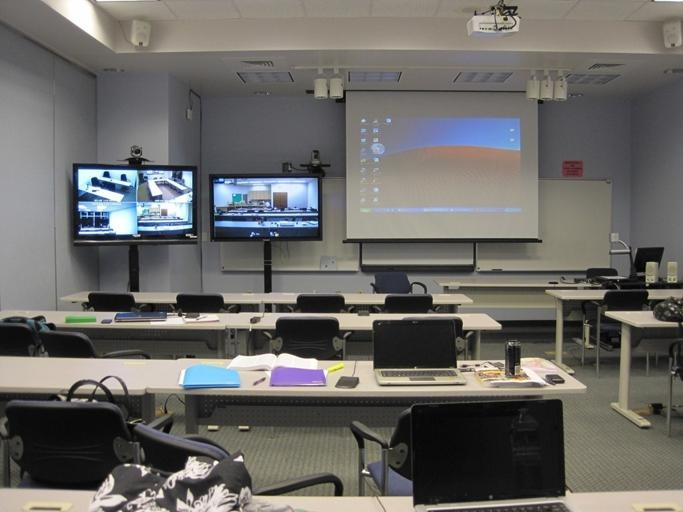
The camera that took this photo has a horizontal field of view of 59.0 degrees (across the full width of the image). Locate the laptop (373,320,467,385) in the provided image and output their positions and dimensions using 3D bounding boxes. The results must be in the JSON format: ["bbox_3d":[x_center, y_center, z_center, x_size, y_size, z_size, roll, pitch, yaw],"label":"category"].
[{"bbox_3d":[0.518,0.674,4.086,0.624,0.378,0.448,0,4,-2],"label":"laptop"}]

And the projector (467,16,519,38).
[{"bbox_3d":[1.534,-2.342,6.108,0.491,0.184,0.224,0,2,7],"label":"projector"}]

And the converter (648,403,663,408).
[{"bbox_3d":[2.919,1.391,5.608,0.069,0.041,0.067,0,-1,0],"label":"converter"}]

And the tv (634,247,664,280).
[{"bbox_3d":[3.621,0.087,7.107,0.375,0.326,0.093,0,12,0],"label":"tv"}]

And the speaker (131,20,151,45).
[{"bbox_3d":[-2.261,-2.507,6.784,0.219,0.306,0.220,-1,2,-10],"label":"speaker"}]

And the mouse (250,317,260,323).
[{"bbox_3d":[-0.782,0.579,5.442,0.041,0.038,0.052,-2,8,-41],"label":"mouse"}]
